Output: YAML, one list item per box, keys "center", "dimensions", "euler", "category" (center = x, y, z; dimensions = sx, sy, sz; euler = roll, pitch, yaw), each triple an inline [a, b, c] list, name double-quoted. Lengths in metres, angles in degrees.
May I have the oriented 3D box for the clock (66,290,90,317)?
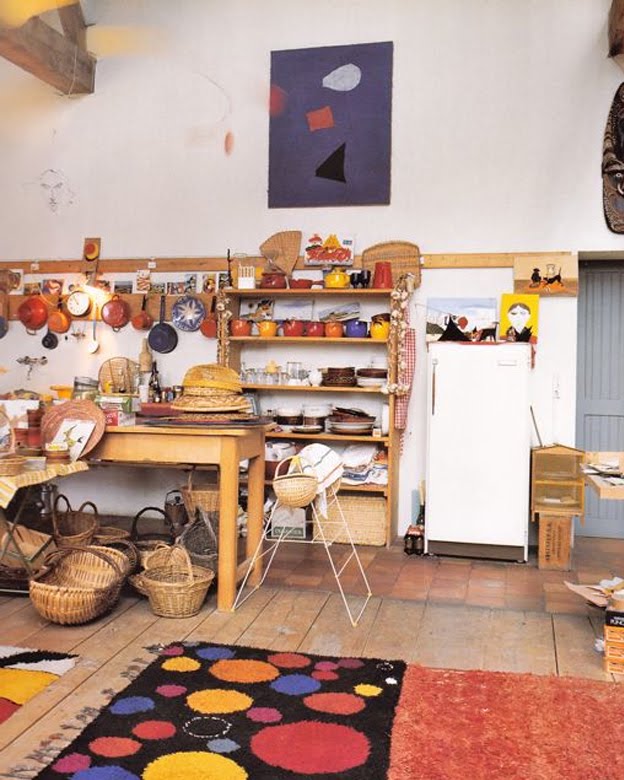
- center: [-2.124, -0.773, 5.878]
  dimensions: [0.245, 0.247, 0.052]
  euler: [1, -1, 23]
  category: "clock"

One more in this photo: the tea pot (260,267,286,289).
- center: [-0.314, -0.868, 5.160]
  dimensions: [0.184, 0.170, 0.169]
  euler: [1, -1, 0]
  category: "tea pot"

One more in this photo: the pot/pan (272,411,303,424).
- center: [-0.204, 0.234, 5.273]
  dimensions: [0.250, 0.112, 0.145]
  euler: [1, -1, 6]
  category: "pot/pan"

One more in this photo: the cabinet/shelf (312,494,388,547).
- center: [0.373, 1.050, 5.032]
  dimensions: [0.638, 0.395, 0.360]
  euler: [-2, -13, 29]
  category: "cabinet/shelf"

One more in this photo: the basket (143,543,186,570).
- center: [-0.794, 0.901, 3.492]
  dimensions: [0.257, 0.090, 0.247]
  euler: [-1, 2, -6]
  category: "basket"

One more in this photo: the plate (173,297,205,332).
- center: [-1.065, -0.634, 5.601]
  dimensions: [0.296, 0.285, 0.084]
  euler: [5, 4, 19]
  category: "plate"

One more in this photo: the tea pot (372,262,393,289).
- center: [0.522, -0.850, 4.951]
  dimensions: [0.202, 0.203, 0.196]
  euler: [1, -5, 0]
  category: "tea pot"

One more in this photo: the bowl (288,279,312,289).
- center: [-0.096, -0.816, 5.101]
  dimensions: [0.177, 0.092, 0.177]
  euler: [1, -1, 0]
  category: "bowl"

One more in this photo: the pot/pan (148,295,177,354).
- center: [-1.310, -0.561, 5.665]
  dimensions: [0.278, 0.509, 0.074]
  euler: [1, -1, 25]
  category: "pot/pan"

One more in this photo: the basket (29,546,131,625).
- center: [-1.135, 0.954, 3.195]
  dimensions: [0.378, 0.233, 0.497]
  euler: [5, 6, 8]
  category: "basket"

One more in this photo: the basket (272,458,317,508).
- center: [-0.096, 0.469, 3.275]
  dimensions: [0.261, 0.280, 0.244]
  euler: [-7, -18, 5]
  category: "basket"

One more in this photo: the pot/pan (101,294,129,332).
- center: [-1.762, -0.676, 5.780]
  dimensions: [0.264, 0.315, 0.111]
  euler: [1, -1, 21]
  category: "pot/pan"

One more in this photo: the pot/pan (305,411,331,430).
- center: [0.027, 0.246, 5.207]
  dimensions: [0.153, 0.106, 0.152]
  euler: [-1, 3, -45]
  category: "pot/pan"

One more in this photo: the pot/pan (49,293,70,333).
- center: [-2.319, -0.679, 5.930]
  dimensions: [0.207, 0.228, 0.091]
  euler: [1, -1, 24]
  category: "pot/pan"

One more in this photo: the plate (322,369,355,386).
- center: [0.195, -0.091, 5.078]
  dimensions: [0.168, 0.093, 0.166]
  euler: [1, 0, -42]
  category: "plate"

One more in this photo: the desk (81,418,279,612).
- center: [-0.577, 0.512, 3.707]
  dimensions: [1.229, 1.063, 0.881]
  euler: [0, 1, 13]
  category: "desk"

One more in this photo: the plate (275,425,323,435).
- center: [-0.113, 0.328, 5.122]
  dimensions: [0.377, 0.075, 0.158]
  euler: [1, -1, -1]
  category: "plate"

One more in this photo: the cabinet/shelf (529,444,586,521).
- center: [1.707, 0.658, 4.521]
  dimensions: [0.433, 0.513, 0.385]
  euler: [-3, -16, 34]
  category: "cabinet/shelf"

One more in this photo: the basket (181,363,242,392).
- center: [-0.549, -0.062, 3.542]
  dimensions: [0.304, 0.152, 0.186]
  euler: [1, -1, -10]
  category: "basket"

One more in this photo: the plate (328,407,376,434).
- center: [0.303, 0.251, 5.044]
  dimensions: [0.349, 0.204, 0.198]
  euler: [1, -1, 5]
  category: "plate"

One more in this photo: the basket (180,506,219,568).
- center: [-0.642, 0.829, 3.704]
  dimensions: [0.271, 0.136, 0.316]
  euler: [6, 12, 0]
  category: "basket"

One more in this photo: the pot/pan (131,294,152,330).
- center: [-1.493, -0.660, 5.697]
  dimensions: [0.160, 0.312, 0.125]
  euler: [3, -16, 3]
  category: "pot/pan"

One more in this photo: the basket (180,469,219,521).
- center: [-0.823, 0.768, 4.864]
  dimensions: [0.353, 0.396, 0.361]
  euler: [1, -2, -27]
  category: "basket"

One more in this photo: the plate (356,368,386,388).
- center: [0.450, -0.088, 5.001]
  dimensions: [0.253, 0.143, 0.124]
  euler: [1, -1, 15]
  category: "plate"

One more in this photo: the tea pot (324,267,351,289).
- center: [0.191, -0.843, 5.054]
  dimensions: [0.164, 0.172, 0.210]
  euler: [-2, -8, 28]
  category: "tea pot"
